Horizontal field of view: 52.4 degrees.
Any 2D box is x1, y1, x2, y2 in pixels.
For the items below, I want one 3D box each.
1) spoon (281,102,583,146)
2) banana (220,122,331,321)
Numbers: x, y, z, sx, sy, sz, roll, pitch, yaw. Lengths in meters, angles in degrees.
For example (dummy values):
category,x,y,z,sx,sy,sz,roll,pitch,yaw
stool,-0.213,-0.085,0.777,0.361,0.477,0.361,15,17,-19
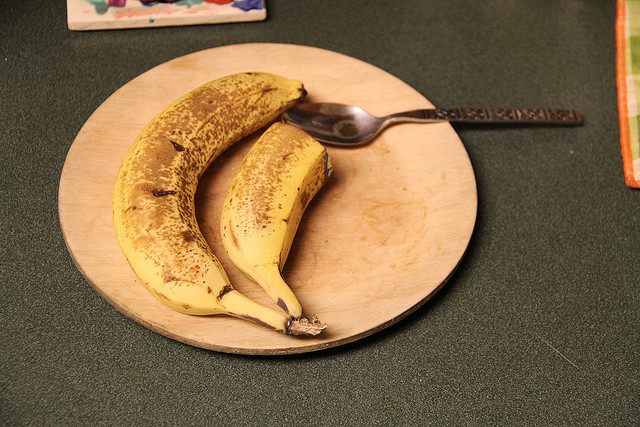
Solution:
category,x,y,z,sx,sy,sz,roll,pitch,yaw
spoon,0.200,-0.173,1.266,0.507,0.064,0.101,0,61,-4
banana,-0.083,0.009,1.143,0.169,0.121,0.420,9,52,-1
